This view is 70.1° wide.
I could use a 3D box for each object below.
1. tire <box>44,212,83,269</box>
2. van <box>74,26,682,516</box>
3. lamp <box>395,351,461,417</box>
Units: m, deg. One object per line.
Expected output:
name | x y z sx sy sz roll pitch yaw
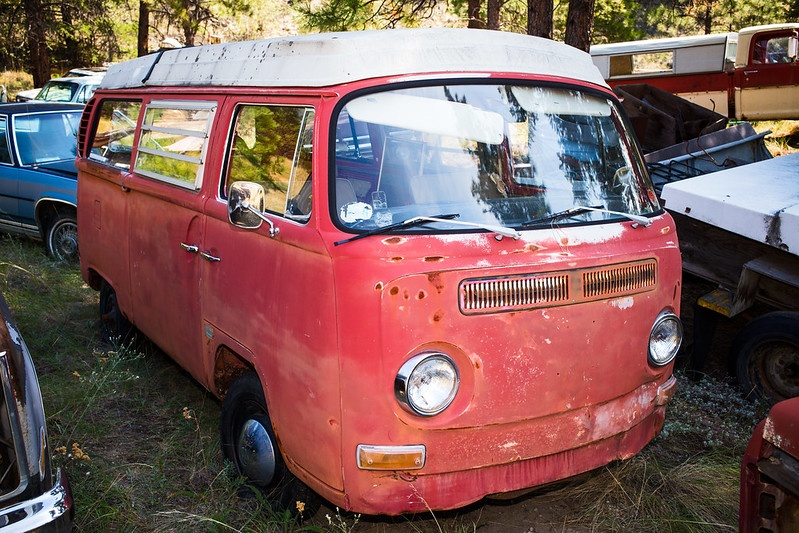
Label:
tire | -4.848 -0.363 8.268 0.704 0.778 0.265 8 7 32
van | -0.634 -0.461 4.888 2.624 2.610 4.729 -9 19 -32
lamp | 0.147 0.684 3.331 0.269 0.275 0.113 -38 14 -16
